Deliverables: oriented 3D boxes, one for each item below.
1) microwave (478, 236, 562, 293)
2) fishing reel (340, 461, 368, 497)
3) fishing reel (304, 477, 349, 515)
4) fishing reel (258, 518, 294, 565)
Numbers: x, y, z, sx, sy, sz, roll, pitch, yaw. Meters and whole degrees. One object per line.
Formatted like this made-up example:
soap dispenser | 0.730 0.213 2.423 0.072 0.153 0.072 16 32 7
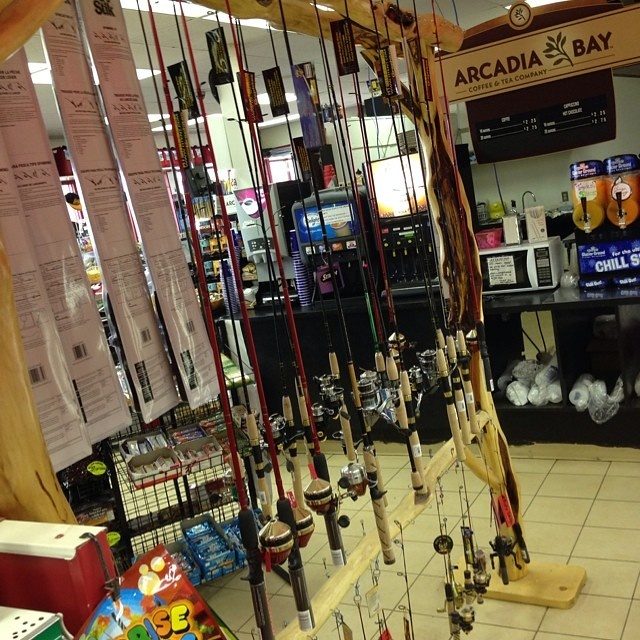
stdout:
microwave | 1.729 -0.443 4.412 0.727 0.425 0.527 -2 11 29
fishing reel | 0.080 0.379 1.217 0.056 0.076 0.091 3 14 26
fishing reel | 0.004 0.369 1.096 0.059 0.074 0.086 -30 -19 12
fishing reel | -0.077 0.393 0.905 0.065 0.069 0.065 -10 -8 -3
